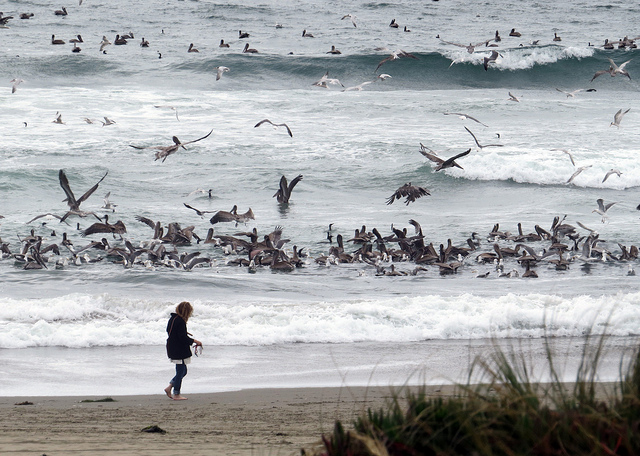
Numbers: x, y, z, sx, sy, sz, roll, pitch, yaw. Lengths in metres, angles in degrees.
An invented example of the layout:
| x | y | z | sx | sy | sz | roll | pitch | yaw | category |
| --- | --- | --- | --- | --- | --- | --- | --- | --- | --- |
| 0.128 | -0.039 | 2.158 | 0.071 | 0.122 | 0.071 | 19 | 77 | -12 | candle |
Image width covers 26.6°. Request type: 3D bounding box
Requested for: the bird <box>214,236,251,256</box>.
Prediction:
| x | y | z | sx | sy | sz | roll | pitch | yaw | category |
| --- | --- | --- | --- | --- | --- | --- | --- | --- | --- |
| -4.243 | 0.869 | 64.978 | 1.182 | 0.445 | 1.211 | -5 | 5 | -38 | bird |

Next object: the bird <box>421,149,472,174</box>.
| x | y | z | sx | sy | sz | roll | pitch | yaw | category |
| --- | --- | --- | --- | --- | --- | --- | --- | --- | --- |
| 6.200 | -3.157 | 66.281 | 2.477 | 0.662 | 1.346 | 4 | 4 | 43 | bird |

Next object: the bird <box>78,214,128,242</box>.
| x | y | z | sx | sy | sz | roll | pitch | yaw | category |
| --- | --- | --- | --- | --- | --- | --- | --- | --- | --- |
| -10.443 | 0.047 | 66.582 | 2.716 | 0.880 | 1.352 | -7 | -23 | -19 | bird |

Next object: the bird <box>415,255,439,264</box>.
| x | y | z | sx | sy | sz | roll | pitch | yaw | category |
| --- | --- | --- | --- | --- | --- | --- | --- | --- | --- |
| 5.039 | 1.532 | 63.607 | 0.568 | 0.186 | 0.520 | 18 | -10 | -20 | bird |

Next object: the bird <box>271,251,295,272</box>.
| x | y | z | sx | sy | sz | roll | pitch | yaw | category |
| --- | --- | --- | --- | --- | --- | --- | --- | --- | --- |
| -1.776 | 1.582 | 62.773 | 1.031 | 0.827 | 0.735 | 6 | 14 | 23 | bird |

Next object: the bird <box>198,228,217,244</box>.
| x | y | z | sx | sy | sz | roll | pitch | yaw | category |
| --- | --- | --- | --- | --- | --- | --- | --- | --- | --- |
| -5.502 | 0.494 | 65.399 | 0.527 | 0.725 | 1.112 | 15 | 45 | 19 | bird |
